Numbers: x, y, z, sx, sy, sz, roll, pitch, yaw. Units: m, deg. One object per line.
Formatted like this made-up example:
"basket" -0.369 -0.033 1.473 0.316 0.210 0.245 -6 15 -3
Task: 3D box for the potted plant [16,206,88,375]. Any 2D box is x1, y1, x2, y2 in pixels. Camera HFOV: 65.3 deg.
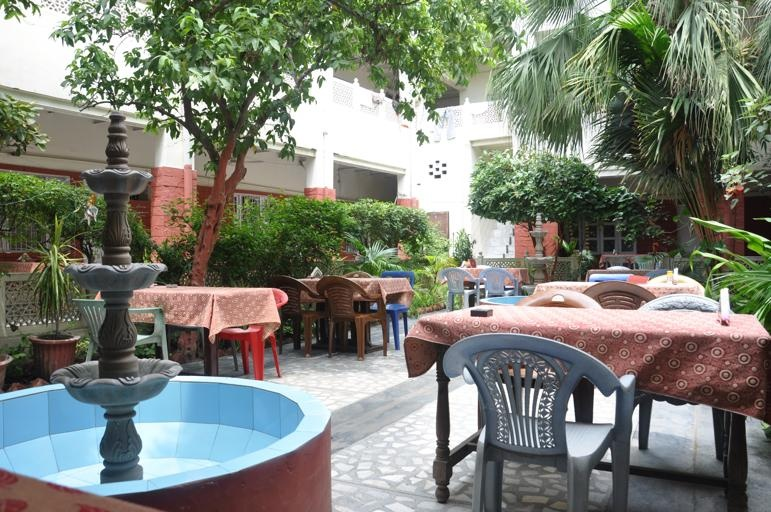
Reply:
"potted plant" -3.877 0.433 7.082 0.540 1.876 1.232 0 0 -30

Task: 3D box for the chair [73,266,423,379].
"chair" -1.231 0.802 7.730 1.693 0.993 3.836 0 -1 45
